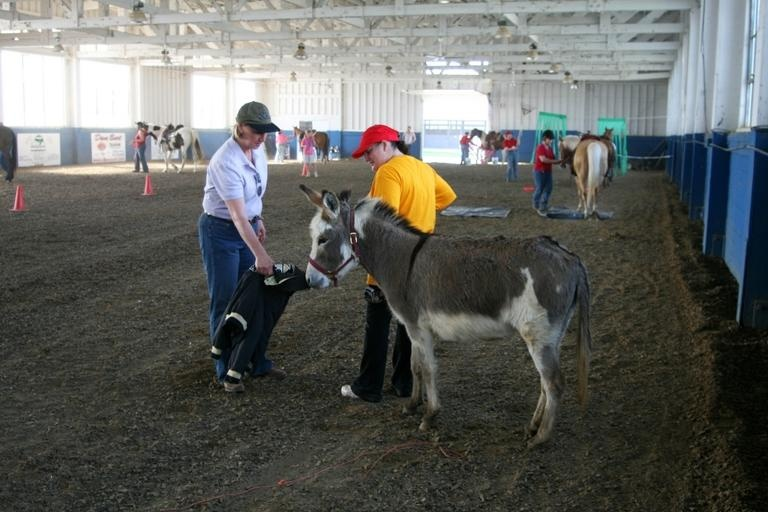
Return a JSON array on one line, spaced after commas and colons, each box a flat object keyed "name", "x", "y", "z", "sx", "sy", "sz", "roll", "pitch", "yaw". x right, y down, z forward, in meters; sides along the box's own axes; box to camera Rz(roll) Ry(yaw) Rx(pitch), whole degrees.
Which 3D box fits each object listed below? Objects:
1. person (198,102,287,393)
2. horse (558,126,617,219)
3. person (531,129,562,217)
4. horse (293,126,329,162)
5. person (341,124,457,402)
[{"name": "person", "x": -1.420, "y": -0.125, "z": 6.380, "sx": 1.015, "sy": 2.608, "sz": 0.878, "roll": 0, "pitch": 1, "yaw": 0}, {"name": "horse", "x": 4.623, "y": -1.988, "z": 14.005, "sx": 0.711, "sy": 2.228, "sz": 2.635, "roll": 2, "pitch": 8, "yaw": 13}, {"name": "person", "x": 3.692, "y": -1.895, "z": 14.459, "sx": 0.751, "sy": 2.251, "sz": 0.650, "roll": 1, "pitch": 1, "yaw": 21}, {"name": "horse", "x": -3.762, "y": -5.633, "z": 32.226, "sx": 1.947, "sy": 1.920, "sz": 0.611, "roll": 3, "pitch": -11, "yaw": 5}, {"name": "person", "x": 0.103, "y": 0.057, "z": 6.227, "sx": 1.030, "sy": 2.722, "sz": 1.007, "roll": 1, "pitch": 1, "yaw": 30}]
